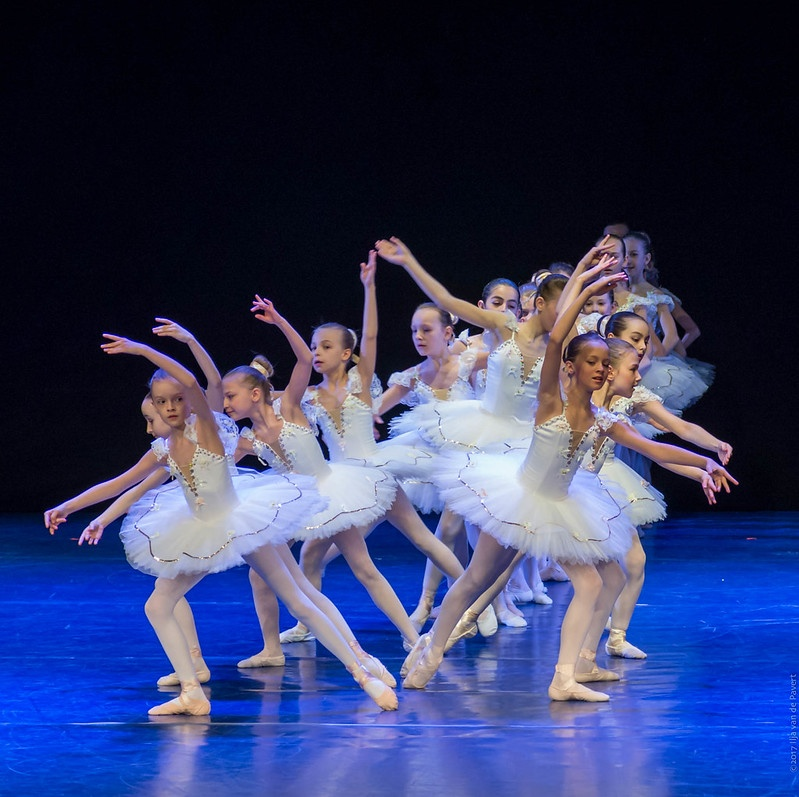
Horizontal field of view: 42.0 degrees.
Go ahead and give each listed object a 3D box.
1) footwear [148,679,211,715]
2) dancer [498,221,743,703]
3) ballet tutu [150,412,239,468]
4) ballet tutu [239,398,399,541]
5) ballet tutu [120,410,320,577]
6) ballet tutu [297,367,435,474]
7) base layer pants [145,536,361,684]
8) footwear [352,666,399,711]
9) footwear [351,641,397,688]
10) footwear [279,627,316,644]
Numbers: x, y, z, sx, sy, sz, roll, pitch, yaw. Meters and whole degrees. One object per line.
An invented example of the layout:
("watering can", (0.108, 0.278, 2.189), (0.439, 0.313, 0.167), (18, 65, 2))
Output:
("footwear", (-0.564, 0.779, 2.662), (0.153, 0.071, 0.080), (-4, 13, -11))
("dancer", (0.471, 0.229, 2.870), (0.580, 1.195, 0.636), (-12, 17, -29))
("ballet tutu", (-0.538, 0.120, 2.896), (0.256, 0.103, 0.163), (-10, -27, -30))
("ballet tutu", (-0.252, 0.219, 3.202), (0.392, 0.401, 0.390), (-36, -2, -29))
("ballet tutu", (-0.539, 0.254, 2.838), (0.533, 0.310, 0.446), (-3, 29, 35))
("ballet tutu", (-0.111, 0.080, 3.576), (0.442, 0.316, 0.300), (-18, -1, 11))
("base layer pants", (-0.439, 0.649, 3.121), (0.431, 0.416, 0.302), (-23, -22, -38))
("footwear", (-0.058, 0.756, 2.742), (0.161, 0.059, 0.060), (35, 6, 28))
("footwear", (-0.076, 0.774, 2.997), (0.044, 0.180, 0.070), (-54, -2, 38))
("footwear", (-0.356, 0.824, 3.604), (0.158, 0.042, 0.066), (4, -1, -10))
